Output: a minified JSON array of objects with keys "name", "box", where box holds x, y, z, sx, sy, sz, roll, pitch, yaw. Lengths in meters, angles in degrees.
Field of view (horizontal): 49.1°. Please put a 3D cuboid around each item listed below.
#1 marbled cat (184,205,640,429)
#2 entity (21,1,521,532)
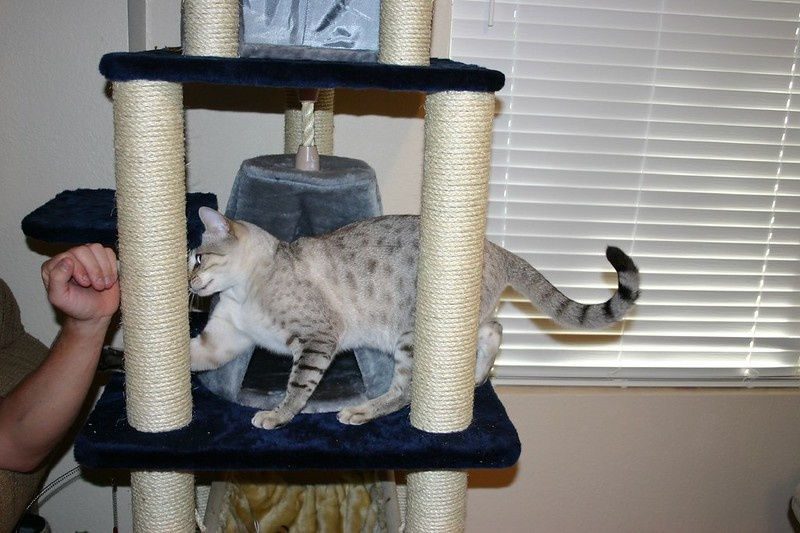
[{"name":"marbled cat","box":[0.003,0.146,2.701,1.435,0.644,0.329,0,4,4]},{"name":"entity","box":[-0.141,-0.094,3.187,1.475,1.936,1.185,1,9,10]}]
